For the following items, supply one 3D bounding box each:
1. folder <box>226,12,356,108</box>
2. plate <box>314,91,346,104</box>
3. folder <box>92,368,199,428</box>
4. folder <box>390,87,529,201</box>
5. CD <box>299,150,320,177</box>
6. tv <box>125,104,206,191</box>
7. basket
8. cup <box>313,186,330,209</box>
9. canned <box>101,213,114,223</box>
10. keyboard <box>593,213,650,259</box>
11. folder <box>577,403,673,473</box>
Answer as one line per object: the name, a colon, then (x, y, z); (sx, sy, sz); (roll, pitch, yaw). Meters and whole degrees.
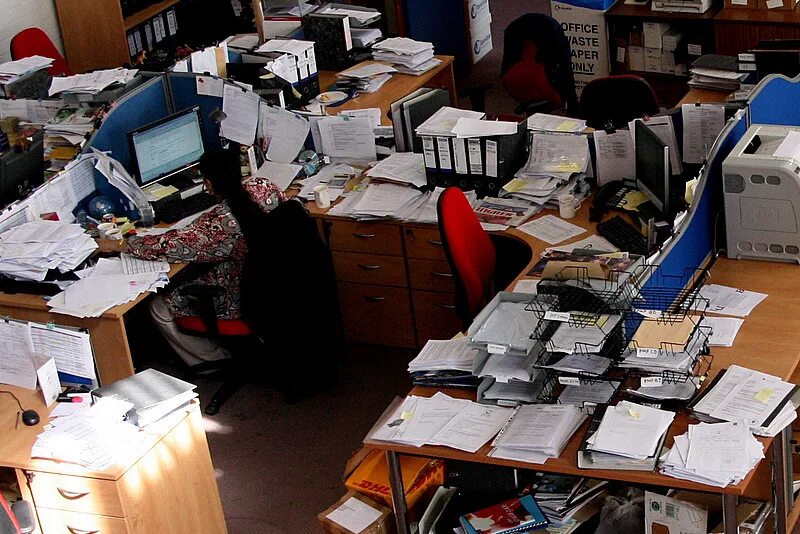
folder: (-0.929, -2.001, 5.617); (1.045, 0.553, 1.400); (-24, 29, -37)
plate: (-0.648, -1.609, 5.560); (0.218, 0.030, 0.190); (8, 37, 14)
folder: (-1.303, 0.658, 3.025); (0.421, 0.096, 0.296); (15, 34, 33)
folder: (0.321, -0.932, 4.322); (1.068, 0.457, 0.784); (8, 32, 17)
CD: (-0.712, -0.833, 4.730); (0.226, 0.177, 0.059); (-3, -6, 3)
tv: (-1.818, -0.901, 4.560); (0.754, 0.459, 0.105); (-27, 29, -29)
basket: (1.008, 0.207, 2.711); (0.796, 0.407, 0.706); (4, 36, 16)
cup: (-0.566, -0.503, 4.258); (0.122, 0.139, 0.172); (0, 22, 7)
canned: (-2.105, -0.358, 4.265); (0.078, 0.052, 0.069); (1, 14, -2)
keyboard: (1.356, -0.193, 3.609); (0.228, 0.084, 0.459); (-24, 41, -5)
folder: (0.899, 0.689, 2.376); (0.287, 0.094, 0.372); (12, 31, 28)
